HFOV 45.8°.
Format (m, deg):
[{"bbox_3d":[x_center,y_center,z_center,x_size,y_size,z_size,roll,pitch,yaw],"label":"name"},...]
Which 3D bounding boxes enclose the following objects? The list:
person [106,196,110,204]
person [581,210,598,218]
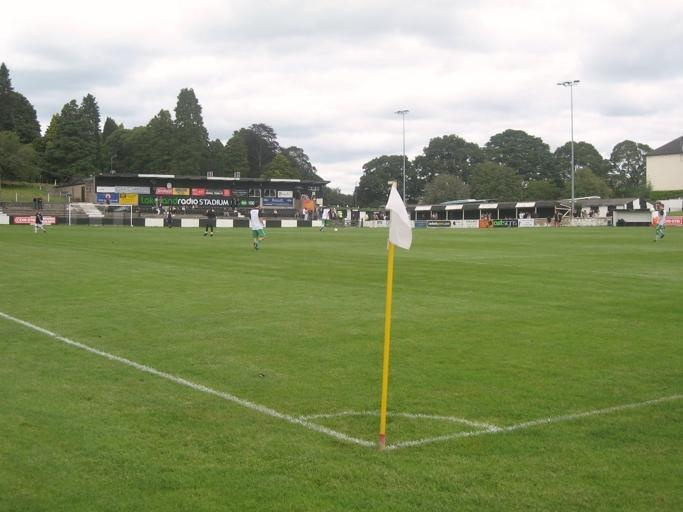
[{"bbox_3d":[-22.915,-5.509,79.464,0.528,0.828,0.265,-2,12,-17],"label":"person"},{"bbox_3d":[23.748,-4.021,77.797,1.399,0.721,1.928,0,2,8],"label":"person"}]
